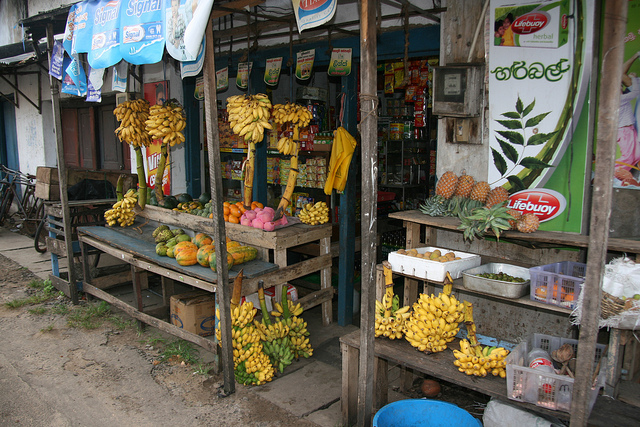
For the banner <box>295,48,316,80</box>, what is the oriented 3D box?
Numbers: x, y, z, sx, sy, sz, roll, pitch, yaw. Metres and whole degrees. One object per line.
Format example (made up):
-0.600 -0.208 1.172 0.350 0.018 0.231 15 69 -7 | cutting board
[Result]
-0.239 -2.430 7.633 0.490 0.519 0.025 15 14 36 | banner

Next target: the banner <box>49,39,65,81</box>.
-4.155 -2.424 7.512 0.232 0.640 0.331 -7 12 -27 | banner

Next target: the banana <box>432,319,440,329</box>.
1.178 1.132 4.836 0.061 0.045 0.076 -34 42 7 | banana

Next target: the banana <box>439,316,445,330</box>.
1.247 1.133 4.862 0.075 0.109 0.048 -9 13 -37 | banana

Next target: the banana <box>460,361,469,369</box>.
1.393 1.466 4.578 0.074 0.059 0.050 2 11 18 | banana

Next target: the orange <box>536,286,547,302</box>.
2.204 0.782 4.719 0.093 0.096 0.097 3 0 17 | orange

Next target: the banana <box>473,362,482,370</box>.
1.508 1.467 4.538 0.062 0.038 0.045 -26 58 -10 | banana

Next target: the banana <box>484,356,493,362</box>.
1.620 1.406 4.554 0.082 0.045 0.031 -3 11 -9 | banana

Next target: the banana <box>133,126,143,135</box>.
-2.883 -1.315 7.548 0.035 0.129 0.045 -34 27 -11 | banana

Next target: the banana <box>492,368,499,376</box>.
1.695 1.525 4.559 0.068 0.052 0.034 -5 11 -17 | banana

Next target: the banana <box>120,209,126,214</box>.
-3.269 -0.028 7.893 0.088 0.078 0.054 -4 11 -12 | banana

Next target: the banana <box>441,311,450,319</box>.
1.302 1.048 4.908 0.052 0.066 0.066 42 20 22 | banana

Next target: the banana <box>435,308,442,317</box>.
1.228 1.033 4.908 0.070 0.073 0.046 0 10 8 | banana

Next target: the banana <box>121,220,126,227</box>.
-3.281 0.177 7.929 0.070 0.071 0.037 -24 6 13 | banana

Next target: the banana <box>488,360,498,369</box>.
1.661 1.442 4.549 0.077 0.048 0.058 -29 7 -35 | banana

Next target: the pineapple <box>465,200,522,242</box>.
1.936 0.059 5.304 0.214 0.340 0.546 -9 -5 38 | pineapple

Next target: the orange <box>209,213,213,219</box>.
-1.573 0.034 6.842 0.051 0.052 0.049 -21 29 13 | orange

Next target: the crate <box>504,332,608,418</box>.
2.188 1.531 4.427 0.672 0.550 0.918 8 14 43 | crate

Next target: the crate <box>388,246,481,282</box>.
1.348 0.581 5.529 0.859 0.261 0.711 -9 13 -36 | crate

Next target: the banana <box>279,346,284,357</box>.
-0.497 1.803 6.156 0.048 0.095 0.031 13 -16 -30 | banana

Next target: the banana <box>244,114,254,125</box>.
-0.940 -1.258 6.367 0.056 0.187 0.065 30 -7 -3 | banana

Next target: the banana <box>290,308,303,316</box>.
-0.297 1.342 6.539 0.222 0.058 0.080 -34 -1 -11 | banana

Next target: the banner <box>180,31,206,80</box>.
-1.430 -1.788 5.391 0.165 0.470 0.282 2 22 -33 | banner

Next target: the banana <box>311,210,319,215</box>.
-0.059 -0.014 6.976 0.092 0.064 0.023 -2 10 -1 | banana

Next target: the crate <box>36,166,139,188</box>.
-4.826 -0.729 9.417 1.019 0.253 0.966 5 2 29 | crate

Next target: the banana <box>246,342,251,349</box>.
-0.888 1.655 5.917 0.055 0.077 0.059 2 -5 -13 | banana

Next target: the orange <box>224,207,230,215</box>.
-1.364 -0.034 6.980 0.081 0.095 0.093 -2 10 -2 | orange

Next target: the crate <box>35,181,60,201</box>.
-5.300 -0.430 9.218 0.412 0.205 0.551 -1 8 -37 | crate

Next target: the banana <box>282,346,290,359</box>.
-0.448 1.816 6.171 0.162 0.044 0.043 -51 14 -18 | banana

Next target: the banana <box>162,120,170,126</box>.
-2.267 -1.334 7.014 0.095 0.074 0.026 -9 13 -35 | banana

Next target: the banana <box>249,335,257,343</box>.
-0.833 1.575 5.953 0.047 0.082 0.022 28 -14 -1 | banana

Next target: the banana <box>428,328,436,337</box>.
1.147 1.212 4.837 0.057 0.078 0.045 -27 -1 18 | banana

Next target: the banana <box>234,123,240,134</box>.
-1.119 -1.155 6.394 0.032 0.140 0.035 25 14 6 | banana

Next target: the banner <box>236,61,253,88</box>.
-1.363 -2.476 8.473 0.087 0.438 0.331 -11 14 -40 | banner

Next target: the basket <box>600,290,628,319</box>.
2.753 0.841 4.410 0.247 0.182 0.285 8 4 18 | basket

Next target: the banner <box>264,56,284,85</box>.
-0.798 -2.414 8.022 0.379 0.470 0.238 6 13 36 | banner

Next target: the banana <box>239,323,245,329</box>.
-0.972 1.396 5.898 0.046 0.066 0.029 0 27 -5 | banana

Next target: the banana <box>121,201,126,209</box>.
-3.258 -0.142 7.856 0.047 0.092 0.030 2 -3 5 | banana

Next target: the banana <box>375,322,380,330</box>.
0.603 1.205 5.069 0.039 0.071 0.056 2 -11 -43 | banana

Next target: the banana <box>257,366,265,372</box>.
-0.724 1.950 5.925 0.081 0.043 0.026 -44 6 -9 | banana

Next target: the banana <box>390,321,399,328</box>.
0.797 1.195 5.079 0.063 0.043 0.076 -5 1 -1 | banana

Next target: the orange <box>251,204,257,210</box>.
-0.972 -0.101 6.977 0.072 0.057 0.104 -11 14 -43 | orange

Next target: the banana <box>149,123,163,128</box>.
-2.426 -1.295 6.999 0.162 0.045 0.053 -20 -15 -7 | banana

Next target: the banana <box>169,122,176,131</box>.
-2.196 -1.297 7.085 0.020 0.089 0.058 15 43 26 | banana

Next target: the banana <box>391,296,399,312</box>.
0.839 1.010 5.305 0.067 0.159 0.132 1 11 14 | banana

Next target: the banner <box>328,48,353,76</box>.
0.320 -2.278 7.117 0.408 0.531 0.054 5 -3 27 | banner

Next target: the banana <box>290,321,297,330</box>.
-0.348 1.510 6.396 0.067 0.089 0.051 42 -4 -36 | banana

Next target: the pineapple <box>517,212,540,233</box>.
2.280 0.102 5.169 0.209 0.140 0.181 -11 8 -40 | pineapple

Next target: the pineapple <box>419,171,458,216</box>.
1.496 -0.225 5.904 0.596 0.347 0.320 -43 31 1 | pineapple

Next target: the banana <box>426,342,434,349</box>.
1.128 1.355 4.842 0.077 0.078 0.026 -6 11 -23 | banana

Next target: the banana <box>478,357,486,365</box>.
1.554 1.418 4.534 0.041 0.042 0.056 -23 -11 5 | banana

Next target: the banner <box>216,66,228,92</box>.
-1.783 -2.456 8.705 0.208 0.428 0.479 -4 11 -12 | banner
